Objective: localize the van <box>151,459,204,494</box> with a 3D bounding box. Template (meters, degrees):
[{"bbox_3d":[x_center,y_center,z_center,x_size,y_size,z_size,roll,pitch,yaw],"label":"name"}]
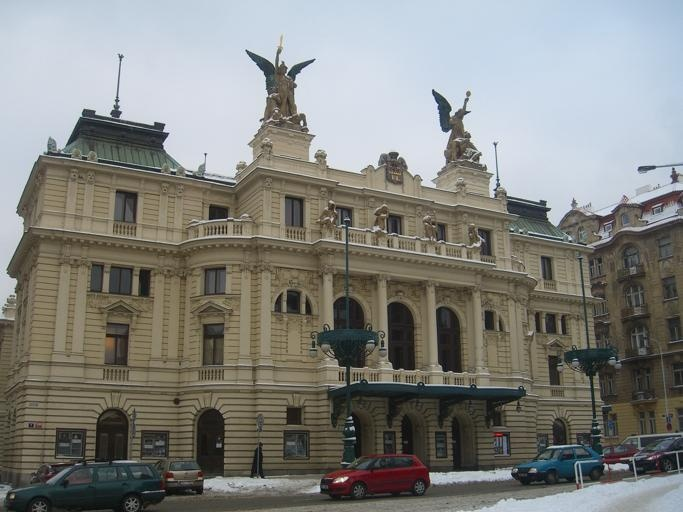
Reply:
[{"bbox_3d":[-9.000,12.327,46.934,2.539,1.774,2.174,2,-9,-21],"label":"van"}]

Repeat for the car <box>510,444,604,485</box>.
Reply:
[{"bbox_3d":[12.268,11.965,46.856,6.709,2.375,2.436,4,-10,-23],"label":"car"}]

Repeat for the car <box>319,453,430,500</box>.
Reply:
[{"bbox_3d":[1.726,11.460,42.782,5.777,2.160,2.431,6,-13,-27],"label":"car"}]
